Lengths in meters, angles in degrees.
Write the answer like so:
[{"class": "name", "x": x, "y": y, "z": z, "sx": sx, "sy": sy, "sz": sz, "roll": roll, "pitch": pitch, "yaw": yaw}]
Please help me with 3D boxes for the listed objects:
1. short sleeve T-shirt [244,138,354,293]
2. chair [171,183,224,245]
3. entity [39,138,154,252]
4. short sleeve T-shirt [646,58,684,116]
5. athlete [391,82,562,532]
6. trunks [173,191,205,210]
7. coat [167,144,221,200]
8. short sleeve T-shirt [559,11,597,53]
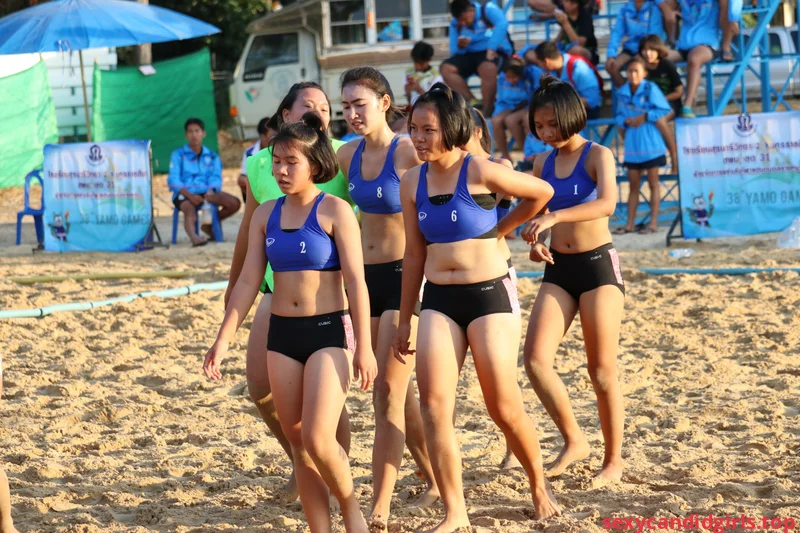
[{"class": "short sleeve T-shirt", "x": -0.901, "y": -0.440, "z": 12.158, "sx": 1.279, "sy": 1.714, "sz": 0.925, "roll": -2, "pitch": 3, "yaw": -1}, {"class": "chair", "x": -3.098, "y": -0.746, "z": 20.204, "sx": 0.728, "sy": 0.688, "sz": 0.756, "roll": 0, "pitch": -9, "yaw": -4}, {"class": "entity", "x": -4.417, "y": -1.015, "z": 19.021, "sx": 1.441, "sy": 1.545, "sz": 0.543, "roll": 0, "pitch": 8, "yaw": 5}, {"class": "short sleeve T-shirt", "x": 3.783, "y": -2.550, "z": 18.611, "sx": 0.499, "sy": 0.813, "sz": 0.300, "roll": 0, "pitch": 6, "yaw": 11}, {"class": "athlete", "x": 0.628, "y": 0.379, "z": 12.164, "sx": 1.370, "sy": 4.155, "sz": 0.505, "roll": -1, "pitch": 6, "yaw": -1}, {"class": "trunks", "x": -3.202, "y": -1.011, "z": 19.763, "sx": 0.345, "sy": 0.230, "sz": 0.279, "roll": -8, "pitch": 6, "yaw": 14}, {"class": "coat", "x": -3.148, "y": -1.447, "z": 20.008, "sx": 0.875, "sy": 0.885, "sz": 0.523, "roll": 4, "pitch": 2, "yaw": -29}, {"class": "short sleeve T-shirt", "x": 2.658, "y": -3.494, "z": 19.421, "sx": 0.511, "sy": 0.586, "sz": 0.440, "roll": 0, "pitch": 6, "yaw": 7}]
